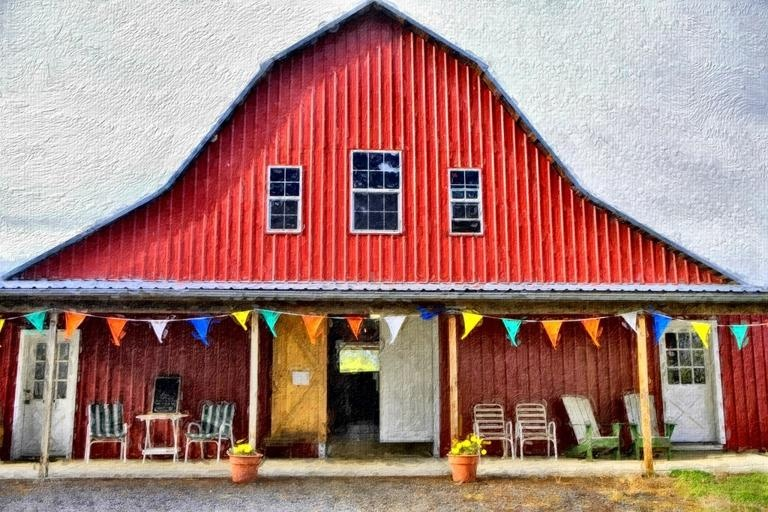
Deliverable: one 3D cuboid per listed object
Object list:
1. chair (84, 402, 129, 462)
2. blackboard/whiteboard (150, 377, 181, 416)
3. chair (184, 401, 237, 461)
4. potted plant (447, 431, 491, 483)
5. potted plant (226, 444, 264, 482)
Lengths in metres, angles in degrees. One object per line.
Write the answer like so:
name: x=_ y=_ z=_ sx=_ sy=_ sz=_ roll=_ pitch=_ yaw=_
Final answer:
chair: x=-5.934 y=3.773 z=21.095 sx=0.923 sy=1.238 sz=0.803 roll=-2 pitch=7 yaw=-15
blackboard/whiteboard: x=-4.686 y=2.977 z=21.314 sx=0.616 sy=0.730 sz=0.419 roll=0 pitch=7 yaw=-3
chair: x=-3.659 y=3.731 z=20.919 sx=1.123 sy=1.183 sz=1.081 roll=3 pitch=-2 yaw=-39
potted plant: x=1.599 y=4.035 z=19.587 sx=0.689 sy=0.774 sz=0.771 roll=-2 pitch=-9 yaw=24
potted plant: x=-2.748 y=4.194 z=19.554 sx=0.770 sy=0.524 sz=0.706 roll=0 pitch=-7 yaw=17
